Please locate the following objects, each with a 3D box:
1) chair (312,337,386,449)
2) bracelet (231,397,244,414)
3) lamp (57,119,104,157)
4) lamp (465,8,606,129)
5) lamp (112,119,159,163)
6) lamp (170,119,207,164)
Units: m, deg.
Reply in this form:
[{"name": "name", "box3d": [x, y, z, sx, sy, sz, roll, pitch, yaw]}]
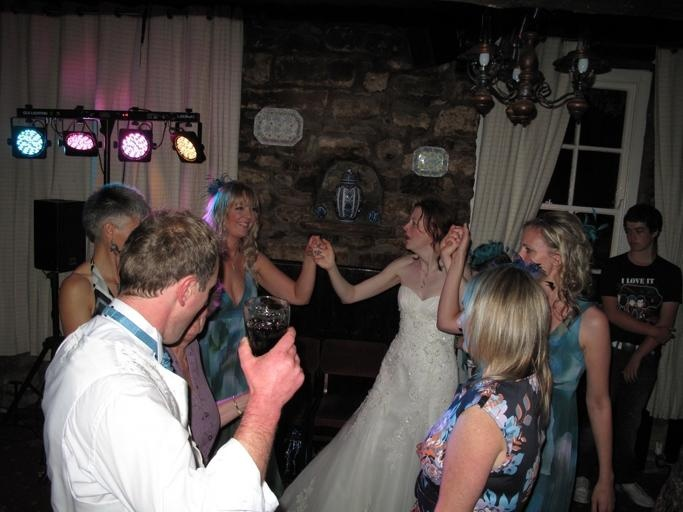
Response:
[{"name": "chair", "box3d": [0.027, 1.120, 4.710, 0.705, 1.057, 0.754, 4, -4, 0]}, {"name": "bracelet", "box3d": [-0.501, 0.725, 2.727, 0.056, 0.064, 0.068, -1, -23, -6]}, {"name": "lamp", "box3d": [-2.292, -1.080, 4.918, 0.340, 0.427, 0.213, -4, -2, -25]}, {"name": "lamp", "box3d": [1.197, -1.153, 3.648, 0.819, 0.735, 0.630, 7, 2, 14]}, {"name": "lamp", "box3d": [-1.785, -0.967, 4.980, 0.344, 0.425, 0.120, -3, 8, -11]}, {"name": "lamp", "box3d": [-1.356, -1.023, 5.054, 0.296, 0.363, 0.327, 4, 6, -5]}]
